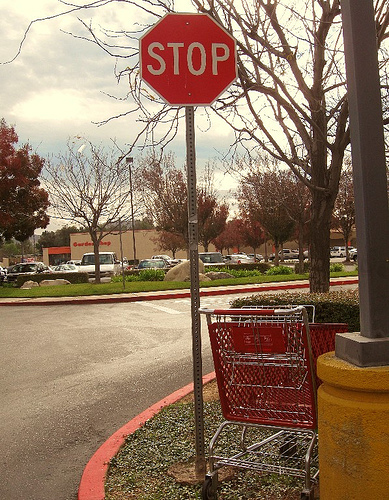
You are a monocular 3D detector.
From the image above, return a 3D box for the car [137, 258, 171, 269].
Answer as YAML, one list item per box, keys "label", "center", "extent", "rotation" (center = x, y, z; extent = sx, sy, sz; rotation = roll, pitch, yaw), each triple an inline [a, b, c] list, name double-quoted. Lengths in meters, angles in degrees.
- label: "car"
  center: [-3.382, 1.213, 35.232]
  extent: [2.167, 0.738, 3.410]
  rotation: [-4, 1, -8]

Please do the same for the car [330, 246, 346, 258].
- label: "car"
  center: [24.030, 0.462, 72.007]
  extent: [1.531, 1.411, 2.357]
  rotation: [-2, -6, 18]

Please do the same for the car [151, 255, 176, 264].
- label: "car"
  center: [-3.658, 1.058, 52.714]
  extent: [1.237, 1.207, 2.661]
  rotation: [-1, -2, -29]

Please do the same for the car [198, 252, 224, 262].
- label: "car"
  center: [1.409, 0.668, 35.301]
  extent: [2.035, 0.663, 0.901]
  rotation: [-4, 1, -23]

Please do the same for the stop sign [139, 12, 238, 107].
- label: "stop sign"
  center: [-0.039, -1.193, 2.697]
  extent: [0.602, 0.515, 0.087]
  rotation: [-4, 1, -5]

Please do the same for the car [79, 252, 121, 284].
- label: "car"
  center: [-7.037, 1.229, 32.089]
  extent: [2.035, 1.842, 3.443]
  rotation: [-1, -6, 0]

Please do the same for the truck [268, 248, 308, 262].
- label: "truck"
  center: [13.471, 0.794, 61.567]
  extent: [4.711, 1.680, 2.049]
  rotation: [-2, 4, 10]

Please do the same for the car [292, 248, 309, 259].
- label: "car"
  center: [13.484, 0.524, 54.682]
  extent: [2.555, 0.867, 1.633]
  rotation: [0, 2, 6]
